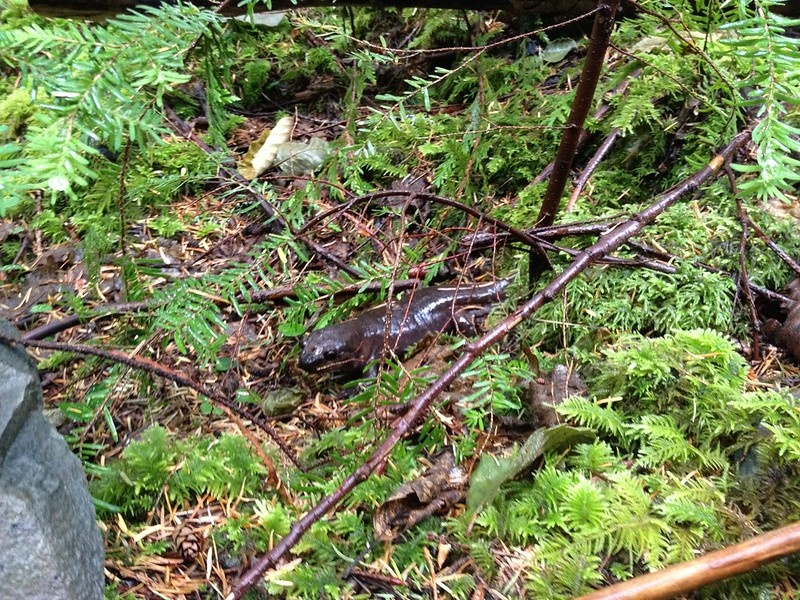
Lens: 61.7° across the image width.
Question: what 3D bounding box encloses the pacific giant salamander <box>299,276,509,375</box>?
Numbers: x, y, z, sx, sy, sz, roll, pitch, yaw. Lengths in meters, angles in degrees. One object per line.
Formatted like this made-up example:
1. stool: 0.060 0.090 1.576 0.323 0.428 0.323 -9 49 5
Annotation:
1. pacific giant salamander: -0.045 0.166 4.010 1.142 0.248 0.566 -28 6 -30
